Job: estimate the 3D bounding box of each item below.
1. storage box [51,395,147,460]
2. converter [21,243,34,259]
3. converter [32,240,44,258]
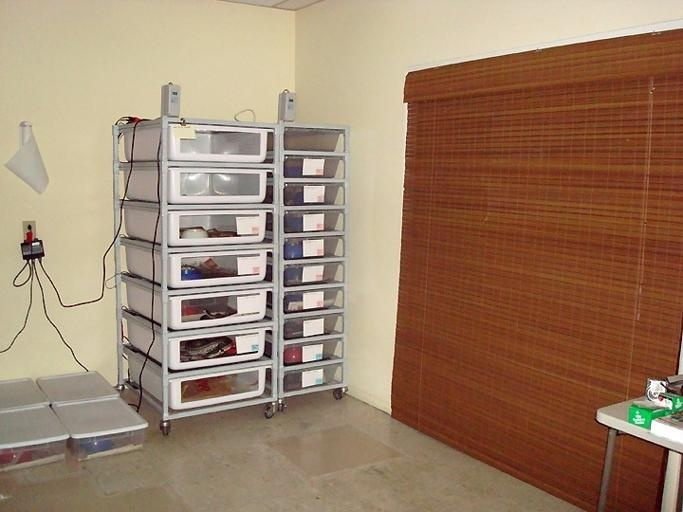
[{"bbox_3d":[-1.551,1.074,3.557,0.643,0.168,0.506,10,7,41],"label":"storage box"},{"bbox_3d":[-2.232,-0.039,3.970,0.071,0.131,0.082,-4,10,-32],"label":"converter"},{"bbox_3d":[-2.168,-0.049,3.989,0.059,0.138,0.071,0,8,-4],"label":"converter"}]
